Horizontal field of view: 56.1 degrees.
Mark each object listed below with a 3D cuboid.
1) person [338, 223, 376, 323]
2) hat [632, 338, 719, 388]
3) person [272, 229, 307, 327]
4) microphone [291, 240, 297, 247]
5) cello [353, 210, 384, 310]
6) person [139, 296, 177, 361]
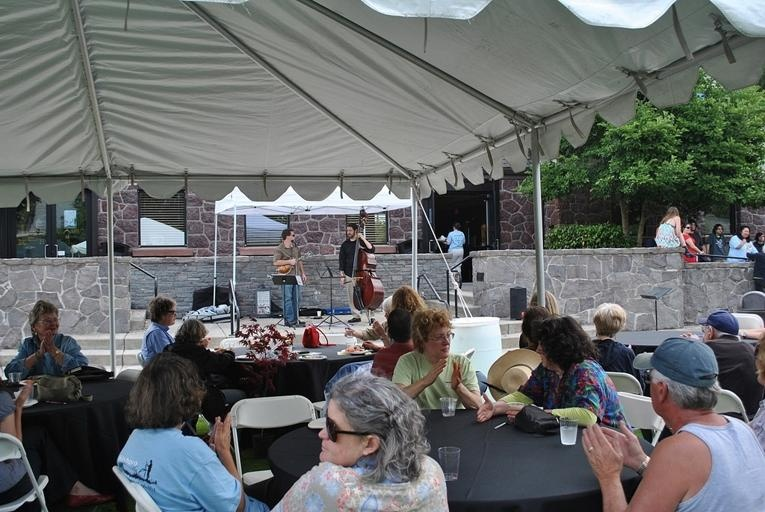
[{"bbox_3d":[-0.467,0.315,13.055,0.500,1.863,0.598,-1,3,-29],"label":"person"},{"bbox_3d":[1.913,0.644,4.665,0.532,0.293,0.386,19,20,39],"label":"hat"},{"bbox_3d":[-1.689,0.372,13.277,0.476,1.810,0.654,-5,-3,33],"label":"person"},{"bbox_3d":[-1.725,-0.278,14.018,0.168,0.040,0.171,3,-5,-42],"label":"microphone"},{"bbox_3d":[-0.386,0.058,12.545,0.323,1.735,0.669,-1,-4,-40],"label":"cello"},{"bbox_3d":[-2.410,0.838,7.905,0.469,0.723,0.437,4,2,24],"label":"person"}]
